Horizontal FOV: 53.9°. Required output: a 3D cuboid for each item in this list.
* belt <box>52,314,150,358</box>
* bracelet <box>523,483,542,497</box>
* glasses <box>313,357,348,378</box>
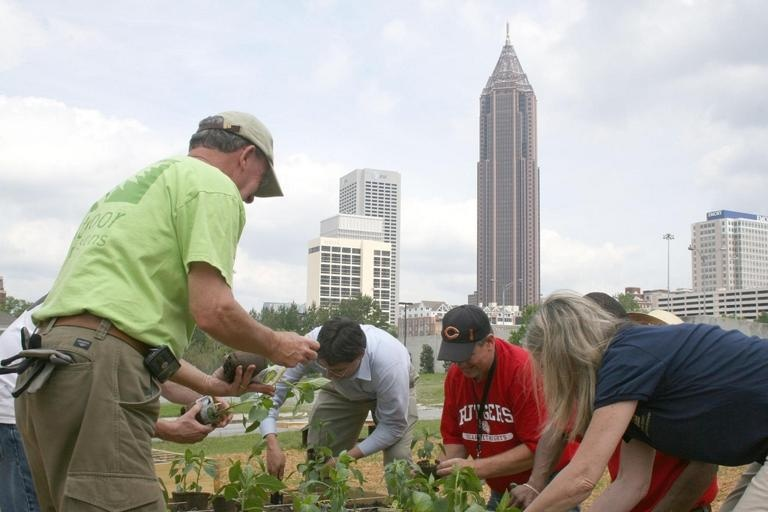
[{"bbox_3d":[-1.561,0.475,4.077,0.277,0.075,0.305,29,-8,8],"label":"belt"},{"bbox_3d":[1.043,1.629,5.310,0.089,0.026,0.093,35,-2,4],"label":"bracelet"},{"bbox_3d":[-0.416,0.923,6.175,0.203,0.069,0.225,14,-39,26],"label":"glasses"}]
